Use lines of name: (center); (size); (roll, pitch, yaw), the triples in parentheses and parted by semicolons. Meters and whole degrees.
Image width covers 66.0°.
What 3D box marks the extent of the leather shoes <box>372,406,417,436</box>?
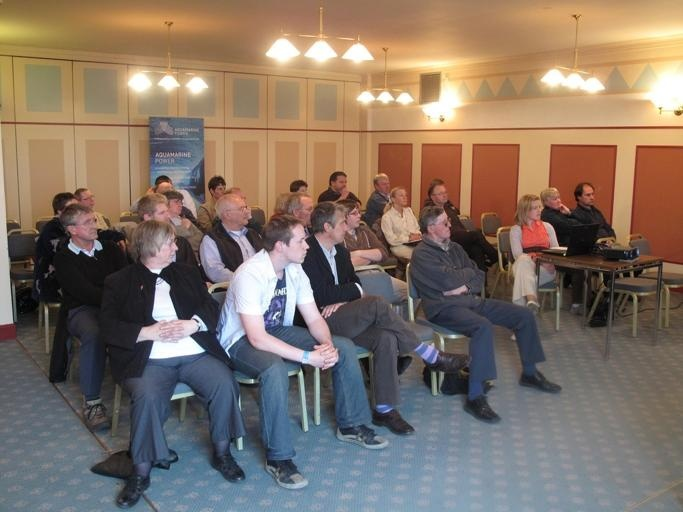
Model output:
leather shoes: (0.380, 1.216, 3.907); (0.338, 0.137, 0.137); (9, 8, 26)

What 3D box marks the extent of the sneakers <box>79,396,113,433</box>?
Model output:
sneakers: (-1.852, 1.160, 3.960); (0.160, 0.153, 0.387); (-7, 14, -34)

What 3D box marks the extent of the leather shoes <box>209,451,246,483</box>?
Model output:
leather shoes: (-0.711, 1.339, 3.313); (0.265, 0.103, 0.110); (10, 13, 38)

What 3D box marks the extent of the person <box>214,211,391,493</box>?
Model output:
person: (-0.281, 0.569, 3.506); (1.265, 1.594, 1.142); (4, 7, 3)

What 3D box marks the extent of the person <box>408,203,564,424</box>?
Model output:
person: (1.102, 0.381, 4.423); (1.050, 1.523, 1.159); (-8, 10, -43)

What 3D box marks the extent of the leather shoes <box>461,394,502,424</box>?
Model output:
leather shoes: (1.077, 1.176, 4.035); (0.122, 0.123, 0.280); (-6, 9, -38)

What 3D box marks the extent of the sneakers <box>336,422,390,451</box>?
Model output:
sneakers: (0.153, 1.262, 3.724); (0.349, 0.133, 0.138); (3, 8, 19)

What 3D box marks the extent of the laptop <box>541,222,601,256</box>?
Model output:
laptop: (2.558, -0.178, 5.700); (0.480, 0.307, 0.320); (-5, 12, -32)

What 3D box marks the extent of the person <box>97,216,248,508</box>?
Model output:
person: (-1.117, 0.598, 3.352); (0.769, 1.567, 0.810); (-7, 16, -25)

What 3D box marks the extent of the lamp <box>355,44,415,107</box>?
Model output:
lamp: (0.875, -3.546, 10.676); (1.245, 1.021, 1.134); (0, 3, -11)

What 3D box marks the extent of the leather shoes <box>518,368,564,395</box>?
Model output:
leather shoes: (1.724, 1.082, 4.526); (0.348, 0.144, 0.148); (3, 7, 24)

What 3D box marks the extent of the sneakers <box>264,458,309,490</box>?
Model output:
sneakers: (-0.362, 1.360, 3.335); (0.300, 0.126, 0.114); (7, 9, 38)

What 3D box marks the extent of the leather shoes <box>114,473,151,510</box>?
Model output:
leather shoes: (-1.234, 1.394, 3.113); (0.096, 0.090, 0.238); (17, 2, 3)

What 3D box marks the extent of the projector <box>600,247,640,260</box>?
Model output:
projector: (2.885, -0.013, 5.456); (0.230, 0.080, 0.179); (2, 4, 44)

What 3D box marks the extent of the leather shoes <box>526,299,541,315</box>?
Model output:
leather shoes: (2.026, 0.543, 5.543); (0.114, 0.118, 0.311); (-14, -34, 34)

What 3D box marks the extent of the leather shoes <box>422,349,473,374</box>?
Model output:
leather shoes: (0.834, 0.835, 4.137); (0.405, 0.160, 0.142); (-6, 9, -6)

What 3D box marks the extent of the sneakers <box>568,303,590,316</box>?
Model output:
sneakers: (2.855, 0.649, 6.398); (0.222, 0.084, 0.149); (-3, 6, -27)
